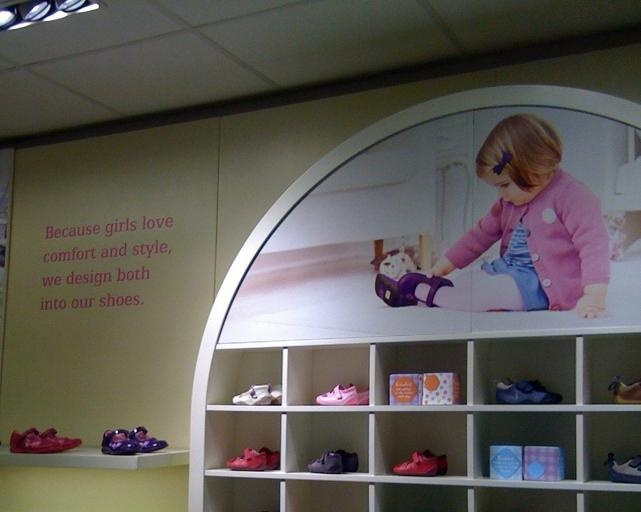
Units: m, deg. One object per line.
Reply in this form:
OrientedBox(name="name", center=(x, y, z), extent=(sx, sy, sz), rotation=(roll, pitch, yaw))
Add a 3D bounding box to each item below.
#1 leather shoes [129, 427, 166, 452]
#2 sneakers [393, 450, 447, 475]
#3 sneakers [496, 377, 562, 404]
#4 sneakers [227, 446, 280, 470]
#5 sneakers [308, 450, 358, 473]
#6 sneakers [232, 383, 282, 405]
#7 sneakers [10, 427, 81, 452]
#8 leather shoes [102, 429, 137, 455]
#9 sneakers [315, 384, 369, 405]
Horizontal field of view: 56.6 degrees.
OrientedBox(name="leather shoes", center=(-1.193, 1.240, 4.022), extent=(0.300, 0.134, 0.131), rotation=(0, -9, 36))
OrientedBox(name="sneakers", center=(0.578, 1.168, 3.441), extent=(0.248, 0.107, 0.161), rotation=(-3, -15, 15))
OrientedBox(name="sneakers", center=(1.126, 0.749, 3.320), extent=(0.390, 0.156, 0.146), rotation=(-1, -10, 12))
OrientedBox(name="sneakers", center=(-0.418, 1.306, 3.799), extent=(0.290, 0.125, 0.166), rotation=(1, -19, 4))
OrientedBox(name="sneakers", center=(0.094, 1.227, 3.615), extent=(0.235, 0.091, 0.142), rotation=(2, -16, -14))
OrientedBox(name="sneakers", center=(-0.399, 0.907, 3.849), extent=(0.216, 0.085, 0.169), rotation=(0, -10, 7))
OrientedBox(name="sneakers", center=(-1.940, 1.298, 4.201), extent=(0.471, 0.160, 0.248), rotation=(-4, -14, 11))
OrientedBox(name="leather shoes", center=(-1.314, 1.227, 3.936), extent=(0.158, 0.155, 0.282), rotation=(11, -18, -42))
OrientedBox(name="sneakers", center=(0.135, 0.863, 3.710), extent=(0.340, 0.125, 0.133), rotation=(-3, -19, 15))
